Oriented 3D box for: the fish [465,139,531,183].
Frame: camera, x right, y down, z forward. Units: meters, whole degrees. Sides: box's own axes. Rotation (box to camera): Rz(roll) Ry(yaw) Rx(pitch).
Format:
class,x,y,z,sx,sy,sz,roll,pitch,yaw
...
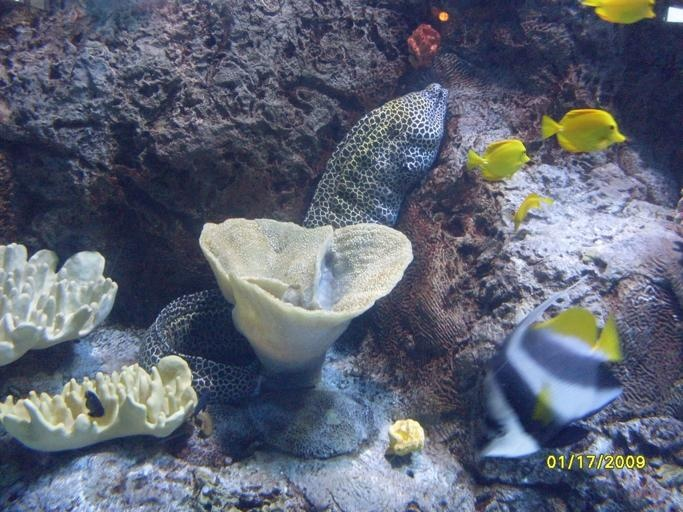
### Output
class,x,y,z,sx,sy,sz,roll,pitch,yaw
fish,1.061,-0.637,4.844,0.436,0.184,0.299,1,67,24
